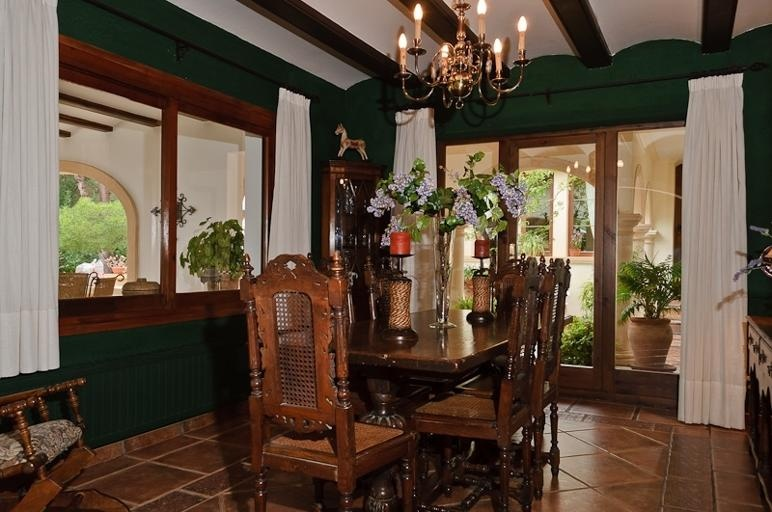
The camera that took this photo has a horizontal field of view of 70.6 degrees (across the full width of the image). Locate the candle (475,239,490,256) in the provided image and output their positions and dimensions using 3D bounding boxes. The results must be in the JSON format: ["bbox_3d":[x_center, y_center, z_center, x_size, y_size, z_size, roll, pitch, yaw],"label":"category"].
[{"bbox_3d":[0.860,-0.066,4.951,0.139,0.154,0.138,0,2,-13],"label":"candle"}]

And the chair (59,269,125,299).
[{"bbox_3d":[-2.563,0.256,4.732,0.319,0.336,0.188,0,0,8],"label":"chair"}]

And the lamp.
[{"bbox_3d":[0.827,-2.034,5.441,1.197,1.020,1.060,-3,7,-31],"label":"lamp"}]

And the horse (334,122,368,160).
[{"bbox_3d":[-0.455,-1.494,7.088,0.418,0.501,0.451,1,6,9],"label":"horse"}]

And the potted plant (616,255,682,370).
[{"bbox_3d":[3.050,0.668,6.256,0.906,1.277,0.897,1,-9,41],"label":"potted plant"}]

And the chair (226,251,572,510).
[{"bbox_3d":[0.227,0.914,3.708,2.069,1.927,1.068,-5,8,-43],"label":"chair"}]

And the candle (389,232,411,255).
[{"bbox_3d":[0.093,-0.090,4.077,0.158,0.175,0.156,-1,1,-9],"label":"candle"}]
